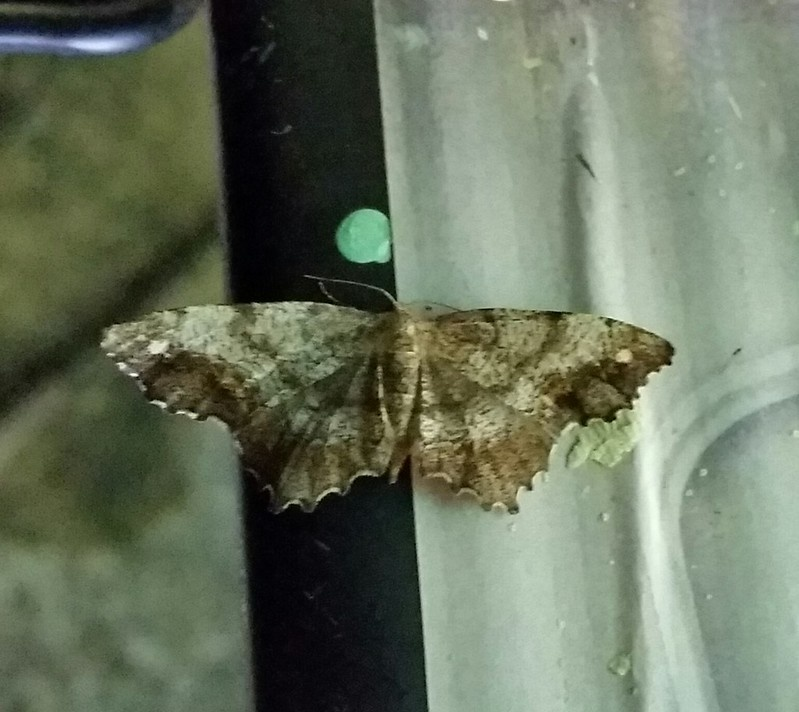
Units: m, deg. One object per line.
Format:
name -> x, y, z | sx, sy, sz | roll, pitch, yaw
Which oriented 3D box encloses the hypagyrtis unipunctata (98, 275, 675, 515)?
hypagyrtis unipunctata -> -0.063, 0.153, 3.479 | 1.977, 0.612, 0.156 | 1, -7, 1
